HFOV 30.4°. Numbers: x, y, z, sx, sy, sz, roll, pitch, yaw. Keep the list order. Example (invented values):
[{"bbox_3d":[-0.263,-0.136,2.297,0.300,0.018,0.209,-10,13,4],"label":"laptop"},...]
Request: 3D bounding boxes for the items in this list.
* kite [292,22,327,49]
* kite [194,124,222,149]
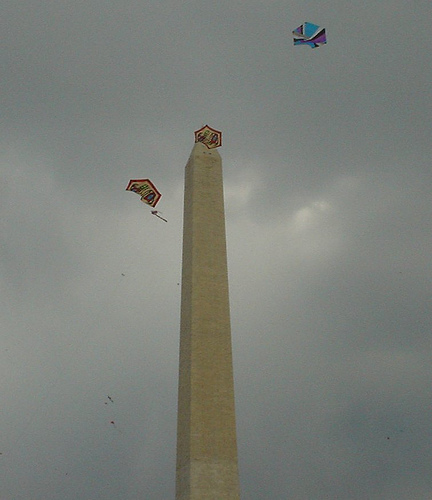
[{"bbox_3d":[1.989,-4.557,16.856,0.607,0.484,0.600,-2,-46,1],"label":"kite"},{"bbox_3d":[-0.138,-2.175,15.915,0.535,1.029,0.450,4,-51,-4],"label":"kite"}]
